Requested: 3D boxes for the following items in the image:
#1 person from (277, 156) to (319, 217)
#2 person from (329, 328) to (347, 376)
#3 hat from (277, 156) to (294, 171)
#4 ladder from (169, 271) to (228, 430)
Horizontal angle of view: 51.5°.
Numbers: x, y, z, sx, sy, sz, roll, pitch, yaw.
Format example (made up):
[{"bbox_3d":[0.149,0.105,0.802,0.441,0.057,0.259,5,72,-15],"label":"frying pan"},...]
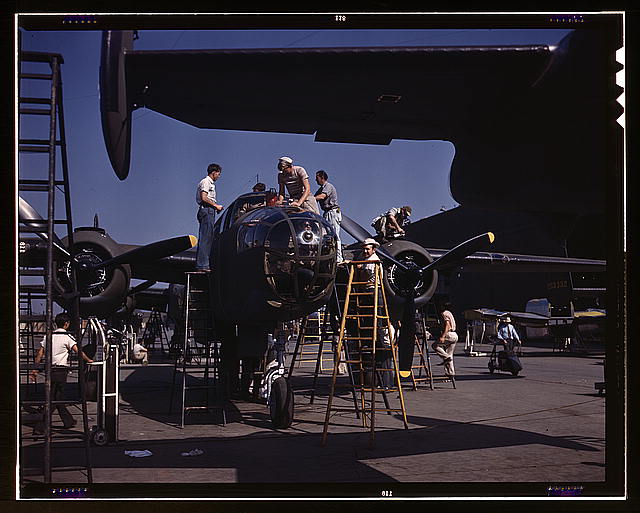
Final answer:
[{"bbox_3d":[-0.496,-1.407,12.979,0.754,1.100,1.131,-2,-8,6],"label":"person"},{"bbox_3d":[0.425,2.019,14.084,0.323,0.897,1.011,4,-14,5],"label":"person"},{"bbox_3d":[-0.692,-1.842,13.073,0.249,0.205,0.243,-2,-8,3],"label":"hat"},{"bbox_3d":[-2.677,1.572,14.826,1.110,3.054,1.224,-9,-33,4],"label":"ladder"}]
